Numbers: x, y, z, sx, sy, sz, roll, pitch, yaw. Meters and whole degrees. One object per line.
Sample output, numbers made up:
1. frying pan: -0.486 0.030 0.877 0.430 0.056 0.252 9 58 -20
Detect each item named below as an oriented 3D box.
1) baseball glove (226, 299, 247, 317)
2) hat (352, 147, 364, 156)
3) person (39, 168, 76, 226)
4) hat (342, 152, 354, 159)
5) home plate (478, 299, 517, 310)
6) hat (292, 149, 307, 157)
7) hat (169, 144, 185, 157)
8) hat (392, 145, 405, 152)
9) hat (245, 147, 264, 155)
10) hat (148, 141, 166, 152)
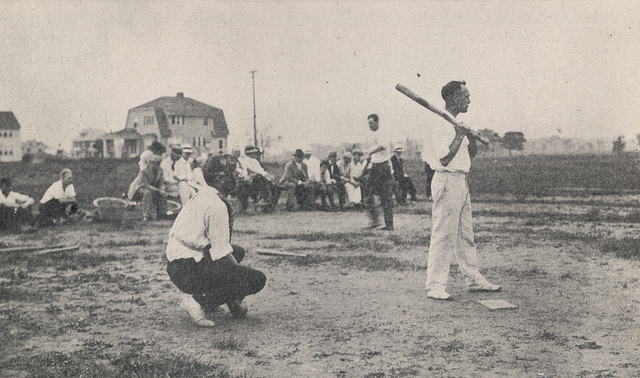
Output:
1. baseball glove: -1.587 2.239 13.293 0.335 0.347 0.339 4 -17 -41
2. hat: 1.306 -1.312 25.026 0.443 0.221 0.513 2 3 2
3. person: -7.471 0.212 20.285 0.931 1.582 0.659 0 1 -19
4. hat: 0.960 -1.196 24.782 0.466 0.201 0.289 0 0 -30
5. home plate: 3.285 2.144 13.218 0.604 0.149 0.333 0 0 -12
6. hat: -0.734 -1.206 23.711 0.274 0.232 0.544 0 0 -2
7. hat: -4.104 -1.099 20.287 0.326 0.311 0.565 0 0 -14
8. hat: 2.687 -1.418 24.812 0.517 0.194 0.535 -2 -2 -4
9. hat: -2.214 -1.286 23.753 0.609 0.258 0.525 0 0 -25
10. hat: -4.930 -1.287 21.506 0.430 0.284 0.663 0 0 -14
